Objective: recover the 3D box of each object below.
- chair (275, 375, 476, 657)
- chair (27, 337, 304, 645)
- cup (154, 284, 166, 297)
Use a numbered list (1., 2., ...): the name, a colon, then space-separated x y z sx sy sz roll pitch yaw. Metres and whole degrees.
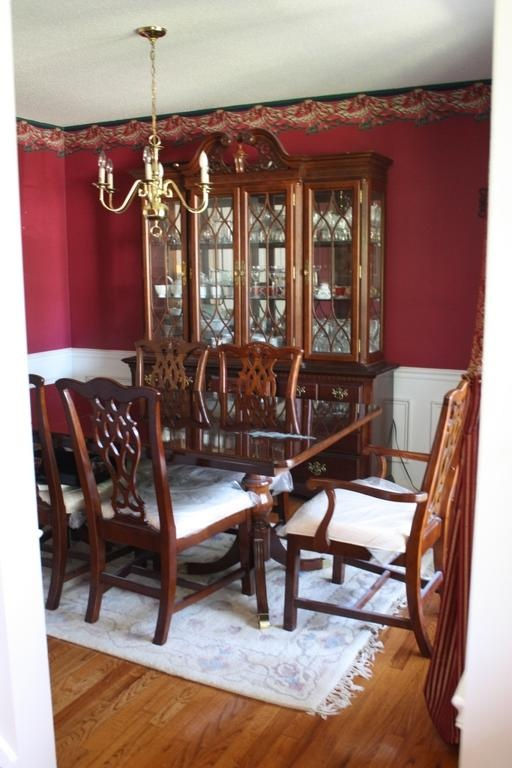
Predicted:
1. chair: 0.548 0.392 2.688 0.821 1.444 0.902 6 11 29
2. chair: -0.303 0.335 2.586 0.918 1.652 0.970 6 14 28
3. cup: -0.677 -0.662 4.239 0.079 0.086 0.086 1 -5 0
